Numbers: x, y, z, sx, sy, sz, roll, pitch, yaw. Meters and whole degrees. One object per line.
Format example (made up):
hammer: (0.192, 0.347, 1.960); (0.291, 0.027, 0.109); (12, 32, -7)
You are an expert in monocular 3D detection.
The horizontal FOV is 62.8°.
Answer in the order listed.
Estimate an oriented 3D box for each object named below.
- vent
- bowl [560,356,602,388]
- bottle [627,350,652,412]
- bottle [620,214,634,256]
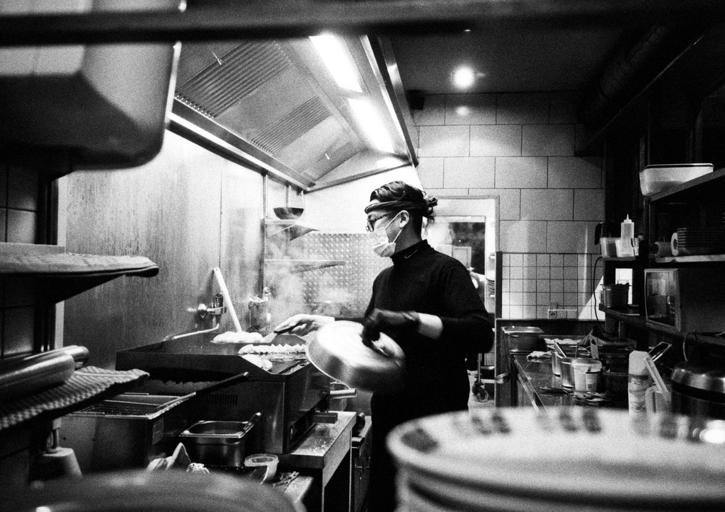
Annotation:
vent: (-0.441, -0.572, 3.459); (0.675, 0.218, 2.389); (5, -12, 7)
bowl: (1.100, 0.583, 3.021); (0.169, 0.114, 0.169); (-1, -2, 0)
bottle: (1.123, 0.521, 2.431); (0.075, 0.246, 0.218); (0, -3, 26)
bottle: (1.668, -0.120, 3.766); (0.086, 0.252, 0.189); (1, -3, 24)
